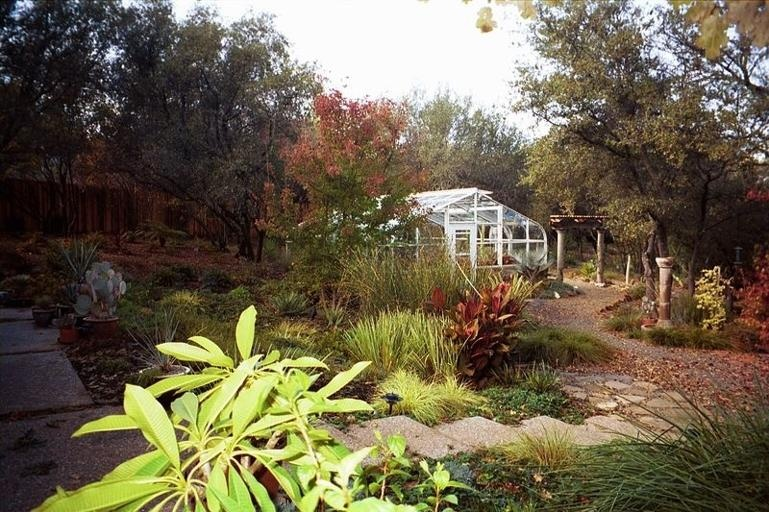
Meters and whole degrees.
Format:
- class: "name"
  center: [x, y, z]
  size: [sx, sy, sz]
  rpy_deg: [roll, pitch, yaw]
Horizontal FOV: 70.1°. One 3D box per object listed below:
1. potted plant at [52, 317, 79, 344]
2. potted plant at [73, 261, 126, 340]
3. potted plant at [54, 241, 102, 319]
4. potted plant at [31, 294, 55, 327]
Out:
- class: "potted plant"
  center: [-4.903, 1.162, 8.423]
  size: [0.286, 0.412, 0.205]
  rpy_deg: [6, -12, -38]
- class: "potted plant"
  center: [-4.346, 0.674, 8.333]
  size: [0.636, 1.130, 0.827]
  rpy_deg: [2, -3, -31]
- class: "potted plant"
  center: [-5.352, 0.451, 9.528]
  size: [0.946, 0.928, 1.848]
  rpy_deg: [8, 16, -29]
- class: "potted plant"
  center: [-5.822, 0.957, 9.361]
  size: [0.344, 0.512, 0.680]
  rpy_deg: [2, -3, -34]
